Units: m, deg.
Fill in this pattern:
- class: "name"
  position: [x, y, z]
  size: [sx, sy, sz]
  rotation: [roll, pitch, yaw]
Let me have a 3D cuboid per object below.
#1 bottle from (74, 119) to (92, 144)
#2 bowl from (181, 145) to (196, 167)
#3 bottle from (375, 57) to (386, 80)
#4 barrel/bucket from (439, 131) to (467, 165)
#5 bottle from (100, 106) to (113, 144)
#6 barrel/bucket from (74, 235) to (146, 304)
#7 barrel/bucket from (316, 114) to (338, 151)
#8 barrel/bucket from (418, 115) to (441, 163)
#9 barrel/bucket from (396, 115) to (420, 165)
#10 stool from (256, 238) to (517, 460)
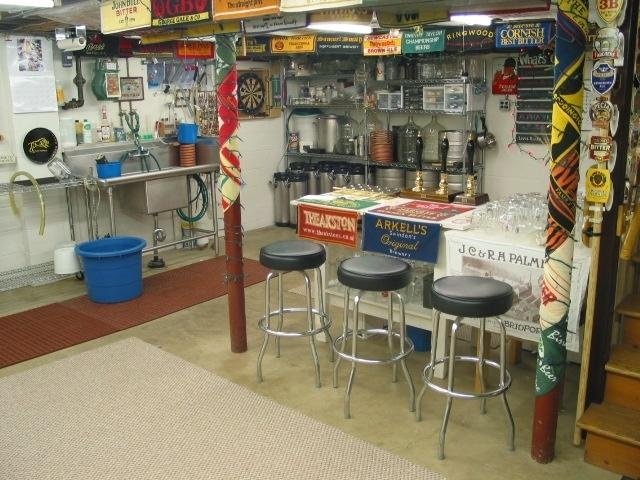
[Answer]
- class: "bottle"
  position: [-3.110, -1.380, 6.689]
  size: [0.214, 0.300, 0.123]
  rotation: [-8, 19, -22]
- class: "bowl"
  position: [-1.859, -1.168, 7.208]
  size: [0.237, 0.298, 0.140]
  rotation: [-14, 22, -36]
- class: "bottle"
  position: [0.937, -2.619, 7.979]
  size: [0.131, 0.325, 0.203]
  rotation: [1, 17, 6]
- class: "barrel/bucket"
  position: [1.894, -1.337, 7.605]
  size: [0.423, 0.397, 0.387]
  rotation: [0, 11, 0]
- class: "bottle"
  position: [-2.917, -1.540, 6.893]
  size: [0.136, 0.479, 0.237]
  rotation: [-3, 18, -7]
- class: "barrel/bucket"
  position: [-2.452, 0.396, 5.919]
  size: [0.740, 0.491, 0.723]
  rotation: [-4, 4, 0]
- class: "barrel/bucket"
  position: [0.126, -1.796, 8.734]
  size: [0.360, 0.515, 0.530]
  rotation: [-9, 18, -28]
- class: "barrel/bucket"
  position: [1.716, -1.510, 7.776]
  size: [0.317, 0.668, 0.521]
  rotation: [3, 18, 11]
- class: "barrel/bucket"
  position: [1.368, -1.519, 7.956]
  size: [0.331, 0.692, 0.554]
  rotation: [2, 17, 8]
- class: "stool"
  position: [0.554, 0.850, 3.954]
  size: [1.422, 0.636, 0.514]
  rotation: [12, 20, 41]
